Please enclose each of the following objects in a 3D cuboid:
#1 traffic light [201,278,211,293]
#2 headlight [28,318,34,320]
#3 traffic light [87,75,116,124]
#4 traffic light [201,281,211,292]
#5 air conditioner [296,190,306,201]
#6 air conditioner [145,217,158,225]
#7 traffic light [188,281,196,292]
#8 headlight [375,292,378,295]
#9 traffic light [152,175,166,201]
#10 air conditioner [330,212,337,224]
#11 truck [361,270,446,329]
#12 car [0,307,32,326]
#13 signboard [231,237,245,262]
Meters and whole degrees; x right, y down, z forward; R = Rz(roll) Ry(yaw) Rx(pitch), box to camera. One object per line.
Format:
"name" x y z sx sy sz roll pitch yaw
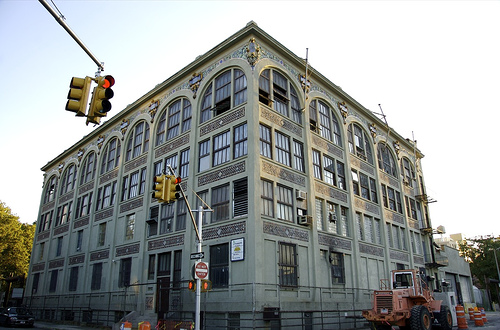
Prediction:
"traffic light" -2.817 7.446 21.118 0.762 0.749 0.491 -9 -30 16
"headlight" -21.589 15.122 33.193 0.324 0.211 0.163 8 -21 -36
"traffic light" -6.123 -2.732 13.876 0.740 2.116 1.189 17 -33 -28
"traffic light" -2.777 7.505 21.084 0.576 0.612 0.575 2 -28 -4
"air conditioner" 4.666 2.837 31.288 0.721 0.890 1.361 -10 -19 32
"air conditioner" -10.066 5.671 34.535 1.481 0.611 0.478 -22 -35 33
"traffic light" -3.584 7.438 20.890 0.417 0.504 0.838 3 -28 -7
"headlight" 9.686 9.777 25.738 0.135 0.126 0.070 1 -20 1
"traffic light" -5.139 1.178 18.993 0.680 1.477 0.774 7 -30 -14
"air conditioner" 8.296 5.288 33.575 0.644 0.881 0.211 17 -14 -36
"truck" 12.024 10.421 26.456 3.571 4.368 5.798 -26 -37 38
"car" -22.866 14.673 32.974 2.719 1.593 1.127 -2 -28 2
"signboard" -0.999 6.845 27.174 1.535 1.928 0.225 -21 -35 37
